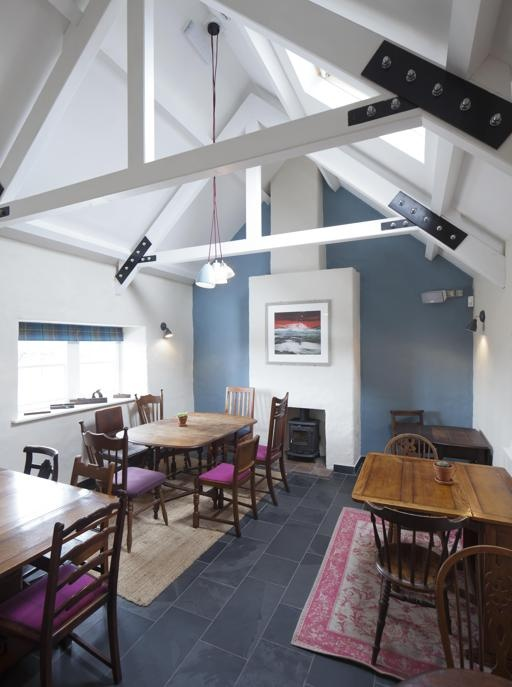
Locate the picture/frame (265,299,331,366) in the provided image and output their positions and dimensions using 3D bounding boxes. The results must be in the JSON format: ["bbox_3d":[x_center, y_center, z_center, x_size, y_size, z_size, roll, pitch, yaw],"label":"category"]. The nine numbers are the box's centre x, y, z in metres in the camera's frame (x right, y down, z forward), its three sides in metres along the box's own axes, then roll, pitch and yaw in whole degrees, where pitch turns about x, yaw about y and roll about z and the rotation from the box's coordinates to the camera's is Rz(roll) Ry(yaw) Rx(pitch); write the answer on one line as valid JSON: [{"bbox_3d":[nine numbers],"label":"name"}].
[{"bbox_3d":[0.478,-0.117,5.254,0.679,0.669,0.038,2,3,36],"label":"picture/frame"}]

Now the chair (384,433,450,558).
[{"bbox_3d":[1.247,1.046,3.966,0.628,0.928,0.573,-1,-5,19],"label":"chair"}]

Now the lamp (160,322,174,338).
[{"bbox_3d":[-1.079,-0.154,5.965,0.141,0.213,0.337,-1,5,-10],"label":"lamp"}]

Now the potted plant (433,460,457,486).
[{"bbox_3d":[1.081,0.732,2.813,0.108,0.116,0.122,-1,-4,29],"label":"potted plant"}]

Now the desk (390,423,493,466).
[{"bbox_3d":[1.628,0.807,4.075,0.468,0.301,0.436,1,2,25],"label":"desk"}]

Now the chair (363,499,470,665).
[{"bbox_3d":[0.802,1.165,2.468,0.421,0.843,0.397,6,12,23],"label":"chair"}]
